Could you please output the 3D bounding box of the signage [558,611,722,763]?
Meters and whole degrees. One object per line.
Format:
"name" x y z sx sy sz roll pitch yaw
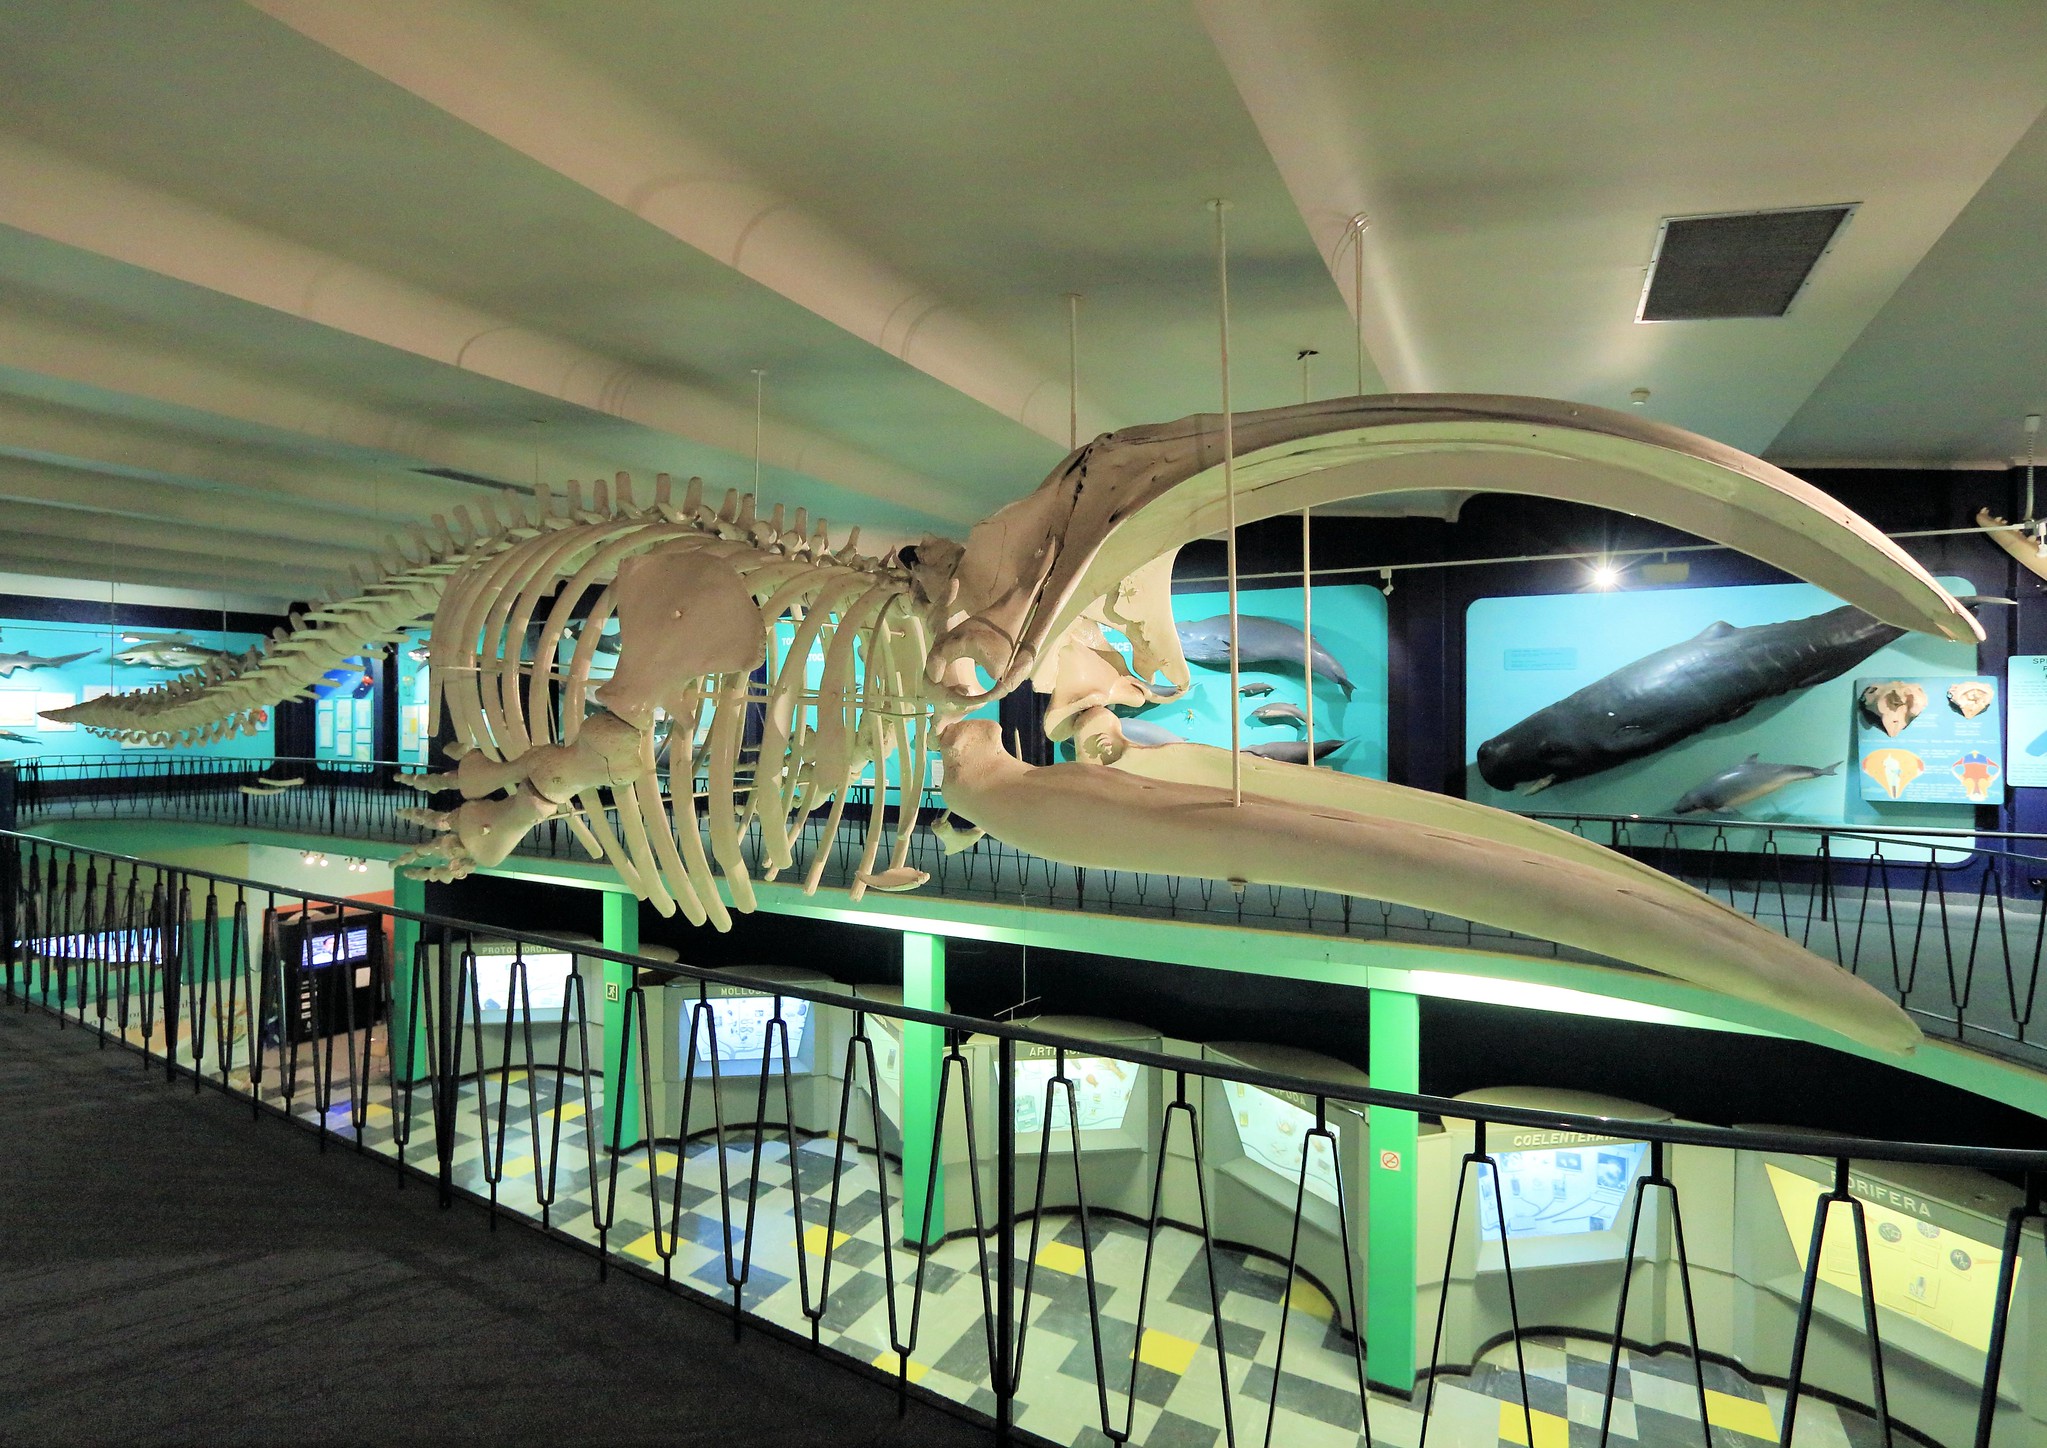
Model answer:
"signage" -1.519 -0.135 5.888 0.548 0.562 0.544 33 6 -32
